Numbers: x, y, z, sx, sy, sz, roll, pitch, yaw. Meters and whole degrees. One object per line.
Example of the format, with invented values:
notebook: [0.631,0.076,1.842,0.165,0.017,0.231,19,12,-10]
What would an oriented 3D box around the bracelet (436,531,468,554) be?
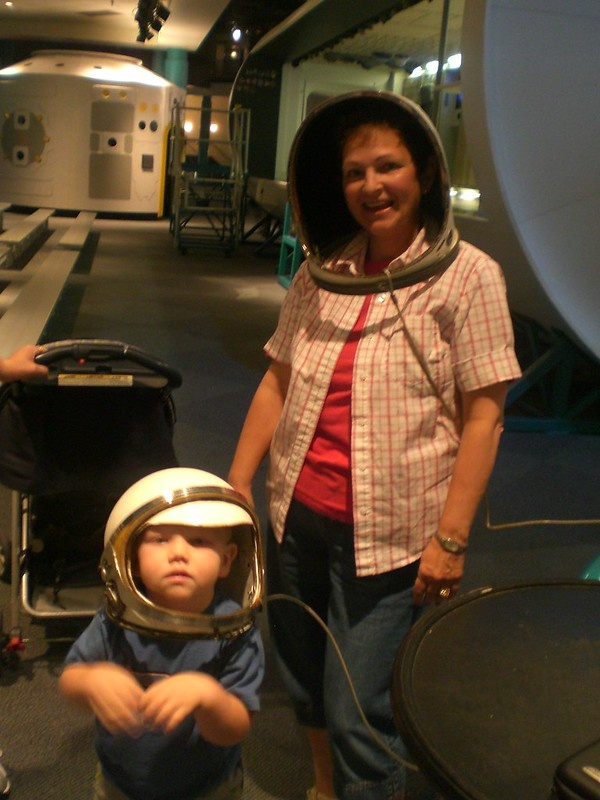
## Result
bracelet: [0.247,0.234,1.087,0.052,0.041,0.031,-7,6,-4]

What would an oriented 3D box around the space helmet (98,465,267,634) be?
space helmet: [-0.170,0.213,0.957,0.217,0.182,0.240,5,-15,-22]

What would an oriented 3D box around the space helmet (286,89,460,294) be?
space helmet: [0.100,-0.381,1.202,0.303,0.376,0.394,-1,2,9]

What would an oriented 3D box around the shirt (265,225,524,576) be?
shirt: [0.123,0.007,1.191,0.230,0.578,0.488,-11,8,-37]
